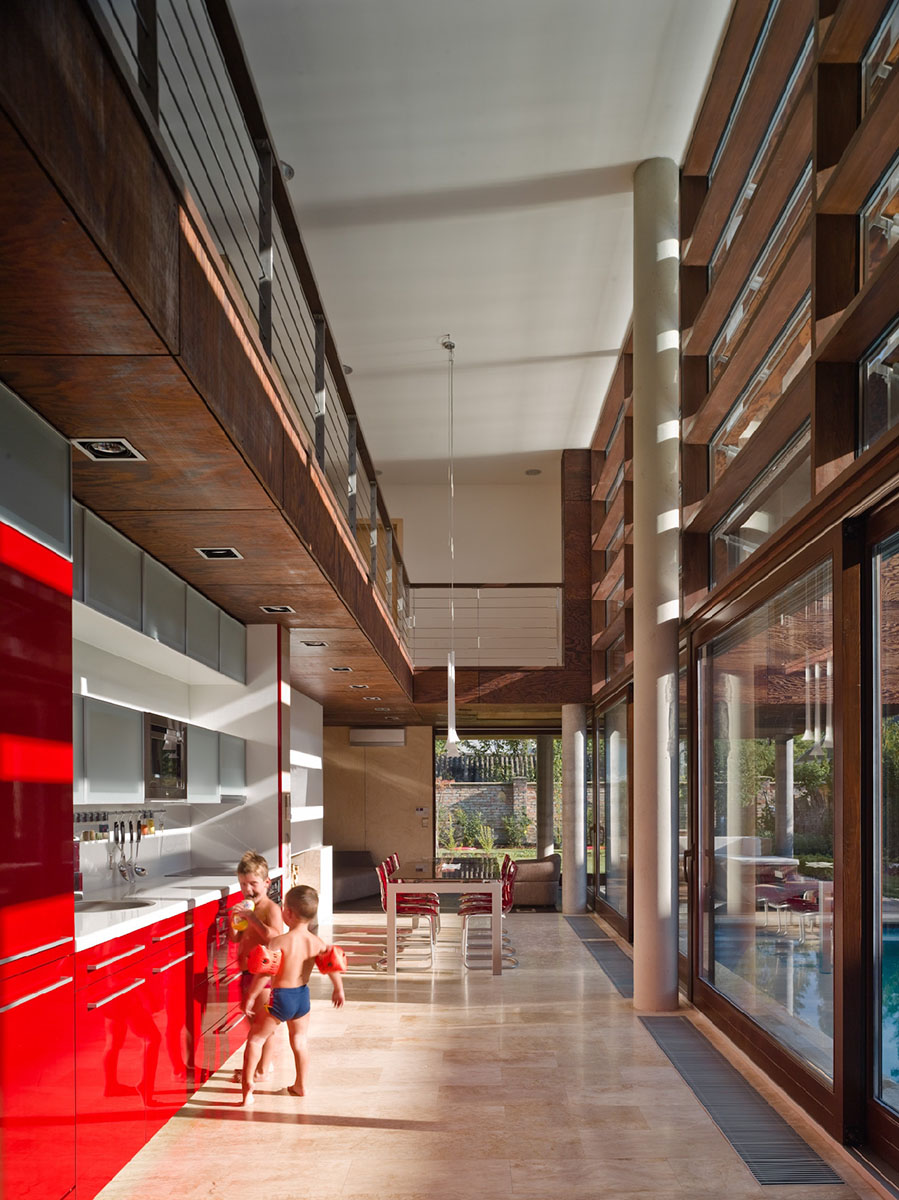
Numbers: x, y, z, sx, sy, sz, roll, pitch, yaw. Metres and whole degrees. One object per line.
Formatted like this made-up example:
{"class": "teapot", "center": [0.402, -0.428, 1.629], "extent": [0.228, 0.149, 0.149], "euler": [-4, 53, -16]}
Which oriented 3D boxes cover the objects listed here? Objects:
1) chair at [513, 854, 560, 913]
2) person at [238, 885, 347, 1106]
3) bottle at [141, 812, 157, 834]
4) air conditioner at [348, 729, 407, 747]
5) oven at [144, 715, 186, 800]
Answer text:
{"class": "chair", "center": [1.165, 3.857, 12.434], "extent": [0.814, 0.966, 0.954], "euler": [0, -11, 3]}
{"class": "person", "center": [-0.710, 1.766, 4.113], "extent": [0.404, 0.970, 0.309], "euler": [9, -5, -30]}
{"class": "bottle", "center": [-1.767, 1.328, 5.366], "extent": [0.067, 0.148, 0.133], "euler": [1, -1, -8]}
{"class": "air conditioner", "center": [-1.169, 2.249, 14.836], "extent": [0.896, 0.281, 0.148], "euler": [2, -12, -9]}
{"class": "oven", "center": [-1.643, 0.921, 5.253], "extent": [0.213, 0.444, 0.467], "euler": [-1, -8, -4]}
